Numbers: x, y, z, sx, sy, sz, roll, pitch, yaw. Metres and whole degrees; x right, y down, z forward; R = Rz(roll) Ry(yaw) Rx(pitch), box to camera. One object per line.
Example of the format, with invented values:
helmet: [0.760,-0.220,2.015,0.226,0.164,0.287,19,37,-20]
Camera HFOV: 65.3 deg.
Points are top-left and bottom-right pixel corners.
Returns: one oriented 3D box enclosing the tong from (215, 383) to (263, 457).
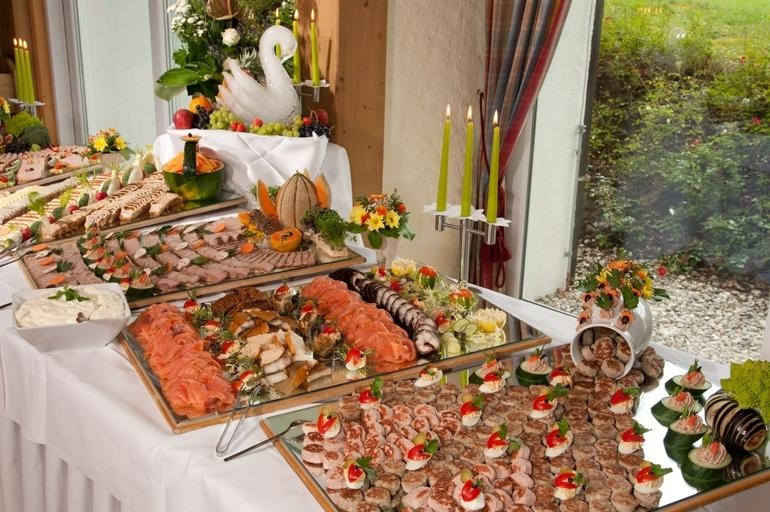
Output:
tong: [-0.491,0.539,2.043,0.054,0.040,0.275,10,54,20]

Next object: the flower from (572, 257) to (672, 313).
flower: [0.899,0.069,2.368,0.312,0.221,0.265,-2,16,-11]

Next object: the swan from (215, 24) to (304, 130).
swan: [-0.818,-1.163,3.876,0.494,0.610,0.217,-8,26,-14]

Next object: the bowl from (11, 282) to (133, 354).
bowl: [-1.219,0.211,2.336,0.383,0.152,0.266,-6,28,-14]

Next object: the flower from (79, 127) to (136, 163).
flower: [-1.937,-0.802,4.420,0.433,0.208,0.445,4,11,21]

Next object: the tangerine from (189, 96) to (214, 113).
tangerine: [-1.232,-1.008,4.044,0.129,0.123,0.130,-10,5,-8]

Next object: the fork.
fork: [-0.387,0.604,1.978,0.296,0.063,0.058,-15,28,-26]

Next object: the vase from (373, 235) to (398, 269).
vase: [0.007,-0.022,2.993,0.130,0.149,0.133,1,16,-2]

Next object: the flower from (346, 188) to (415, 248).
flower: [-0.009,-0.202,2.957,0.293,0.308,0.241,-19,25,-38]

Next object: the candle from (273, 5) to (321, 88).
candle: [-0.579,-1.512,4.414,0.259,0.677,0.337,-15,24,-29]
